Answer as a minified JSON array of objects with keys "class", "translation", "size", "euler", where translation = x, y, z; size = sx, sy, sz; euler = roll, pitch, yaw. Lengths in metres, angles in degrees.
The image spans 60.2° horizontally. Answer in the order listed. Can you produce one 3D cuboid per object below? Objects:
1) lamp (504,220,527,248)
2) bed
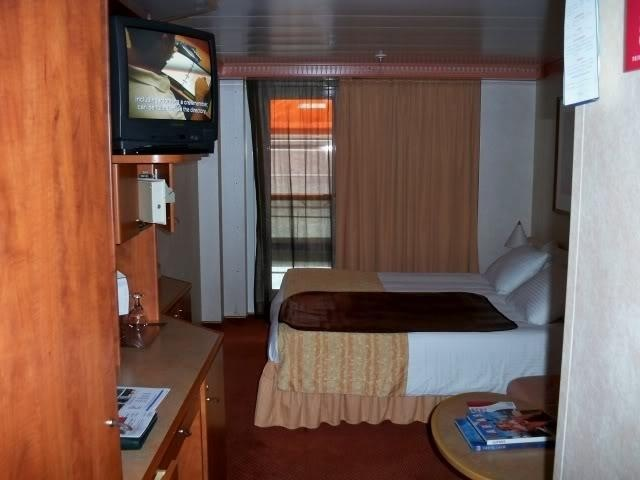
[{"class":"lamp","translation":[1.860,-0.057,5.238],"size":[0.235,0.265,0.264],"euler":[0,7,0]},{"class":"bed","translation":[0.596,0.720,3.782],"size":[1.557,0.707,1.555],"euler":[2,14,5]}]
